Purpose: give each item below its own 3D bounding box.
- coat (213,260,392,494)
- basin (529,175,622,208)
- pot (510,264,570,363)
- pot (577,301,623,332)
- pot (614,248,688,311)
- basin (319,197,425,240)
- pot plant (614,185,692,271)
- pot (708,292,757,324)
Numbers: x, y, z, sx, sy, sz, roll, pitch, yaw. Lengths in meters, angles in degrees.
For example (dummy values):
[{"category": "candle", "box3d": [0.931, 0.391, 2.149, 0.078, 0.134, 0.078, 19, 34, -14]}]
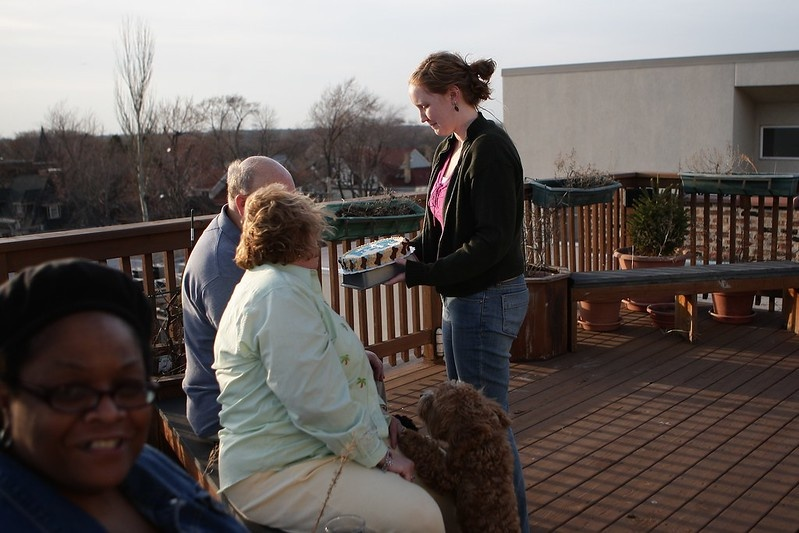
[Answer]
[{"category": "coat", "box3d": [-0.346, 0.384, 2.609, 0.632, 0.841, 0.850, -4, 2, -11]}, {"category": "basin", "box3d": [1.589, -0.667, 5.969, 0.568, 0.168, 0.421, -9, 21, -31]}, {"category": "pot", "box3d": [1.124, 0.415, 5.507, 0.672, 0.782, 0.637, 0, 7, 0]}, {"category": "pot", "box3d": [1.810, 0.435, 5.897, 0.305, 0.289, 0.326, -2, 3, 0]}, {"category": "pot", "box3d": [2.319, 0.056, 6.214, 0.601, 0.556, 0.653, -2, 6, 0]}, {"category": "basin", "box3d": [-0.164, -0.335, 4.457, 0.510, 0.144, 0.358, -12, 18, -40]}, {"category": "pot plant", "box3d": [2.507, -0.396, 6.511, 0.690, 1.190, 0.703, 0, 6, 26]}, {"category": "pot", "box3d": [3.027, 0.364, 5.980, 0.306, 0.284, 0.336, -1, 2, 0]}]
